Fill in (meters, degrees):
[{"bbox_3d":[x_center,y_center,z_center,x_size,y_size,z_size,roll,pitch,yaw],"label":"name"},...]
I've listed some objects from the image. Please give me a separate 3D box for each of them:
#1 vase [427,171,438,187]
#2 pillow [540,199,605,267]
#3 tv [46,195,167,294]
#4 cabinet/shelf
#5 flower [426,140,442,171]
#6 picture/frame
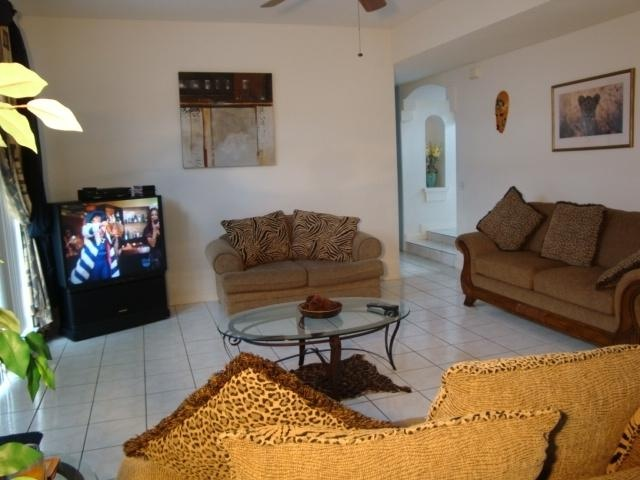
[{"bbox_3d":[2.009,-1.074,8.367,0.119,0.257,0.343,7,13,42],"label":"vase"},{"bbox_3d":[2.303,-0.060,4.269,0.180,0.520,0.582,17,6,-15],"label":"pillow"},{"bbox_3d":[-2.117,0.046,4.596,0.962,0.755,0.335,-7,12,-31],"label":"tv"},{"bbox_3d":[-2.182,0.408,4.824,1.047,0.634,0.585,-8,12,-37],"label":"cabinet/shelf"},{"bbox_3d":[2.036,-1.468,8.388,0.250,0.516,0.433,1,11,21],"label":"flower"},{"bbox_3d":[2.762,-1.320,4.720,0.039,0.720,1.029,-3,5,-25],"label":"picture/frame"}]
